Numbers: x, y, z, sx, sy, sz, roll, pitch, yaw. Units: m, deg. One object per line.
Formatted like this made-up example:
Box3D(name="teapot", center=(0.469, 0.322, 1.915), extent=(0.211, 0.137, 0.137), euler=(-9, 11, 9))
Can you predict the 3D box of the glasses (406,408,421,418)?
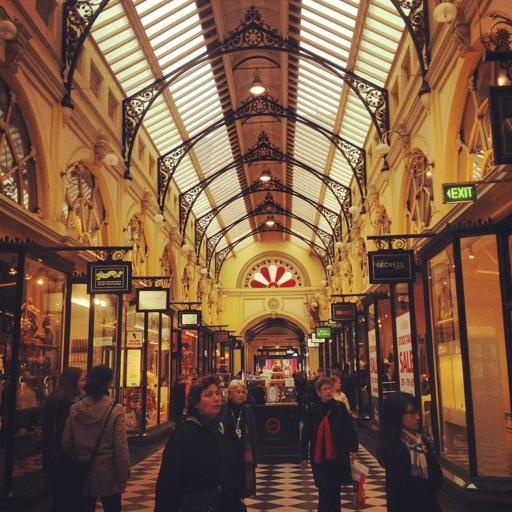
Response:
Box3D(name="glasses", center=(1.057, 1.059, 3.480), extent=(0.087, 0.032, 0.103), euler=(5, -14, 0))
